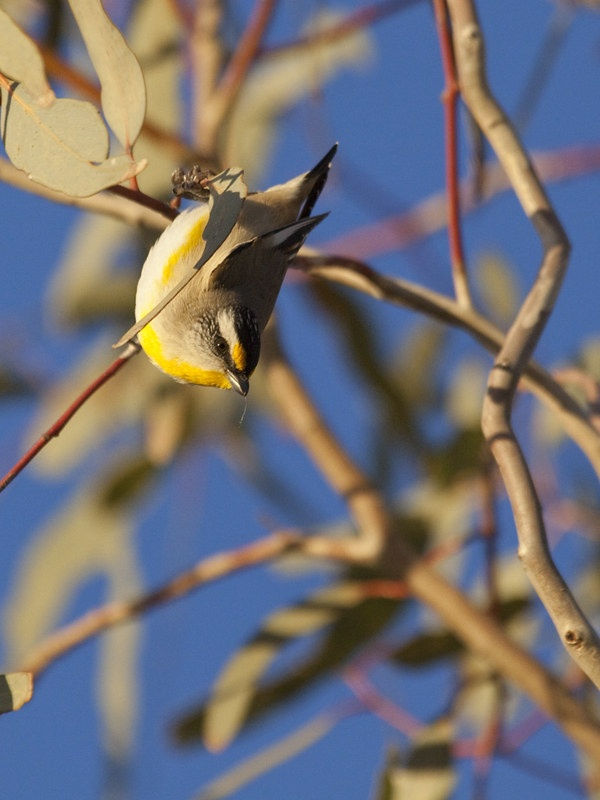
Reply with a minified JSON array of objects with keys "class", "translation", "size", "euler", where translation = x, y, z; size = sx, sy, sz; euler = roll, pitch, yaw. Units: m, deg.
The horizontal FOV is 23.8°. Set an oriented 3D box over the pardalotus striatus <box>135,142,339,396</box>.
[{"class":"pardalotus striatus","translation":[-0.097,-0.126,1.671],"size":[0.232,0.202,0.308],"euler":[-23,-61,-34]}]
